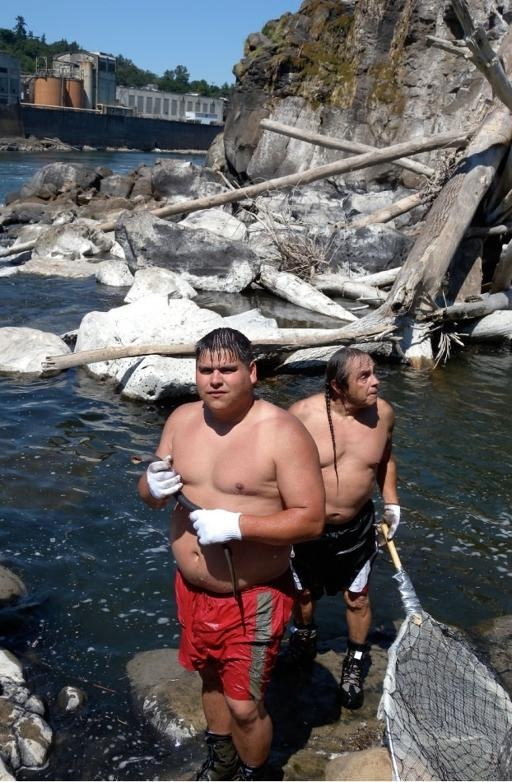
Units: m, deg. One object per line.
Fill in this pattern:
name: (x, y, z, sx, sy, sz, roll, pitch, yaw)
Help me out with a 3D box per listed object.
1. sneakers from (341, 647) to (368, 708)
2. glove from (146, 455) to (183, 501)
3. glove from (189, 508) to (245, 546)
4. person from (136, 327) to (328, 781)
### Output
sneakers: (0.462, 1.355, 3.149, 0.104, 0.207, 0.301, 3, 23, 7)
glove: (-0.327, 0.309, 2.328, 0.121, 0.147, 0.053, -7, -14, -18)
glove: (-0.130, 0.444, 2.117, 0.172, 0.105, 0.097, 3, 15, 4)
person: (-0.110, 0.688, 2.443, 0.508, 1.803, 0.655, -6, 17, -28)
